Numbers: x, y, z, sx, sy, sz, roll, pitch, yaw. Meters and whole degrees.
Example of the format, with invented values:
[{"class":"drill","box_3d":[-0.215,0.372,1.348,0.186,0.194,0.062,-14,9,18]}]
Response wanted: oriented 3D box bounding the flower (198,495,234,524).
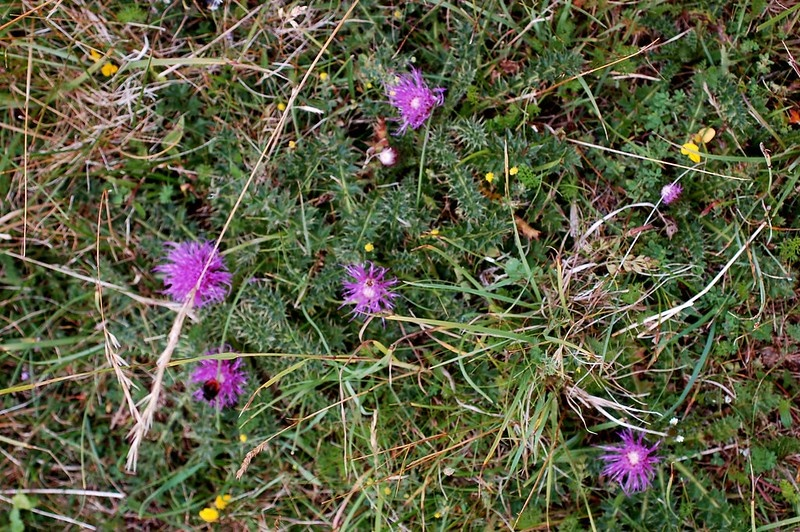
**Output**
[{"class":"flower","box_3d":[-1.164,1.542,4.085,0.169,0.188,0.073,-12,-54,28]}]
